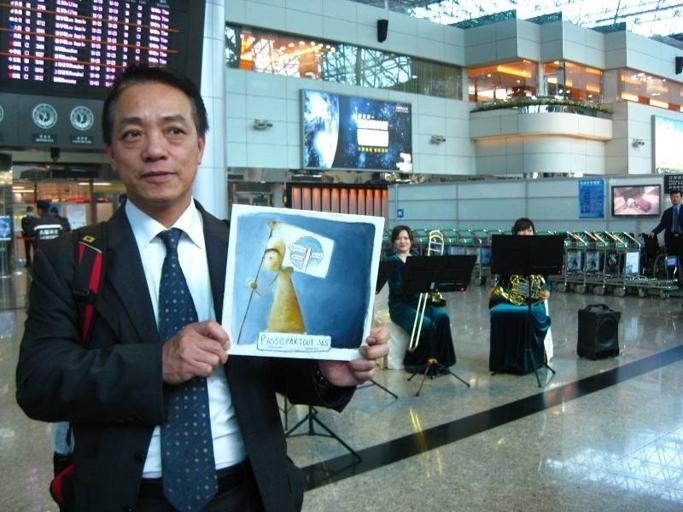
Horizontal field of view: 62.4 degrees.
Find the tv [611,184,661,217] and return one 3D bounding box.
[{"bbox_3d":[6.042,-1.110,11.507,0.056,0.491,0.627,-3,4,-42],"label":"tv"}]

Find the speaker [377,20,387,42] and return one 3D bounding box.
[{"bbox_3d":[1.305,-6.901,17.379,0.382,0.659,0.357,-3,5,-22],"label":"speaker"}]

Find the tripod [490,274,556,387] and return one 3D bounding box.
[{"bbox_3d":[1.936,0.495,6.316,0.570,1.557,0.548,2,6,29],"label":"tripod"}]

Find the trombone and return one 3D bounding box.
[{"bbox_3d":[0.974,0.451,6.464,0.369,1.594,0.405,-3,8,-36],"label":"trombone"}]

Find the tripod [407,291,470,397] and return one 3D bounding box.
[{"bbox_3d":[0.930,0.926,6.241,0.757,1.308,0.865,1,-4,-2],"label":"tripod"}]

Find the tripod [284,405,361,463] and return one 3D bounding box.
[{"bbox_3d":[-0.168,1.423,4.448,0.537,0.448,0.433,-1,6,-24],"label":"tripod"}]

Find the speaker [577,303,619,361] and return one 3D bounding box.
[{"bbox_3d":[2.999,0.869,6.650,0.466,0.643,0.380,-4,5,-29],"label":"speaker"}]

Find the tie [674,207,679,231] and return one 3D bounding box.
[{"bbox_3d":[6.184,-0.655,10.428,0.103,0.416,0.073,2,5,33],"label":"tie"}]
